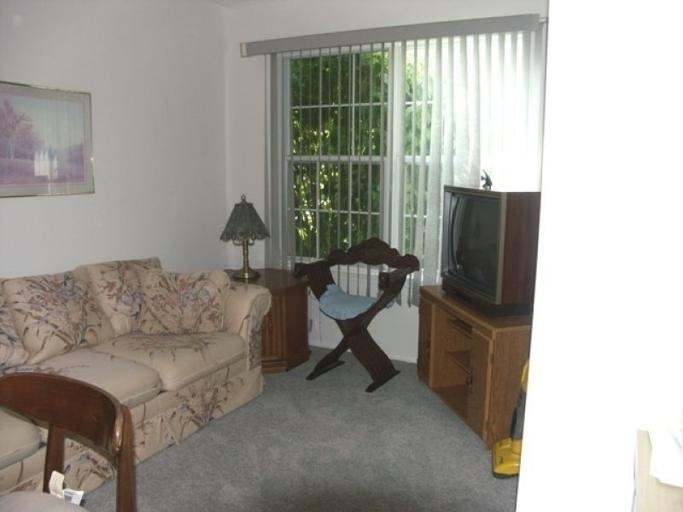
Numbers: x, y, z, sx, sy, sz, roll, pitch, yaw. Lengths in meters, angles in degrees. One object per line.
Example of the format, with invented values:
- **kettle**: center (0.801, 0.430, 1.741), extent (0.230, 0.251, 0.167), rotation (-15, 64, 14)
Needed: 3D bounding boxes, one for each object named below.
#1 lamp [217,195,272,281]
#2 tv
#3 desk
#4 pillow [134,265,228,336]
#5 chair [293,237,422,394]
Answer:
- **lamp**: center (-0.784, -0.168, 4.435), extent (0.377, 0.664, 0.405), rotation (1, 7, 13)
- **tv**: center (0.947, -0.045, 3.541), extent (0.332, 0.760, 0.776), rotation (-2, 11, -14)
- **desk**: center (0.818, 0.658, 3.562), extent (0.325, 0.702, 0.899), rotation (-4, 13, -20)
- **pillow**: center (-1.044, 0.313, 3.623), extent (0.442, 0.466, 0.137), rotation (-2, -6, -10)
- **chair**: center (0.116, 0.404, 4.113), extent (0.825, 1.051, 0.537), rotation (6, 10, 33)
